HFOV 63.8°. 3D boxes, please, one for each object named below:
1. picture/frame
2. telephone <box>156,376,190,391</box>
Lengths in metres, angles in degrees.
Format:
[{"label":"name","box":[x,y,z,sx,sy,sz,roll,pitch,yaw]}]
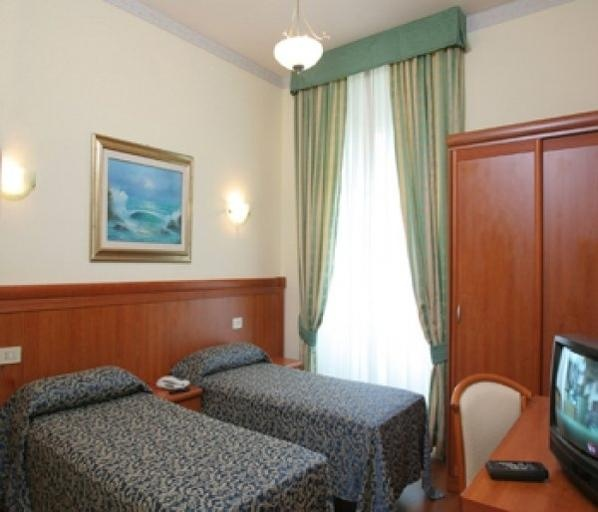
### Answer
[{"label":"picture/frame","box":[-1.236,-0.419,3.932,0.808,1.051,0.077,5,-21,-27]},{"label":"telephone","box":[-0.990,1.001,3.783,0.153,0.047,0.142,4,-1,24]}]
